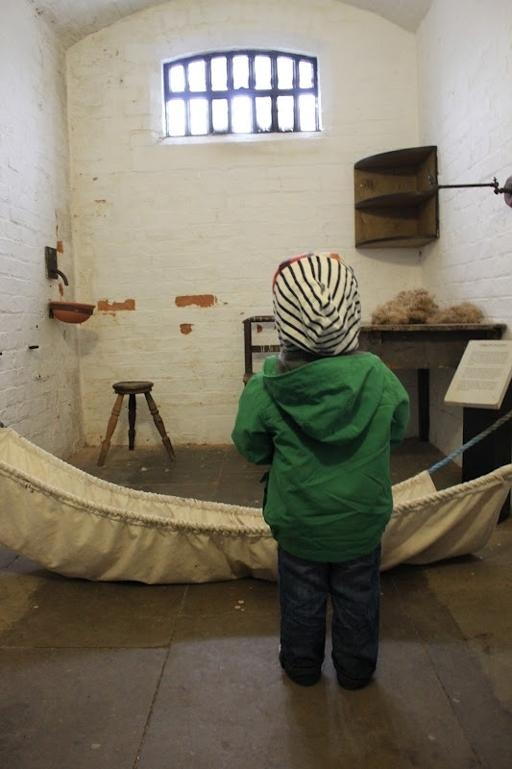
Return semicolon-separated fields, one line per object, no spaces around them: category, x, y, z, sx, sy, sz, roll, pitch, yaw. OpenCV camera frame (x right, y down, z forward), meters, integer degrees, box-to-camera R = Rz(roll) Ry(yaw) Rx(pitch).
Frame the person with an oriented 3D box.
person;0.146;0.208;1.553;0.413;1.018;0.274;2;14;12

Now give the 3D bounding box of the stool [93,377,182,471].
stool;-0.681;0.204;3.725;0.437;0.418;0.349;-2;7;-4

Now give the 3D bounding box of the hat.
hat;0.146;-0.189;1.528;0.221;0.217;0.298;-2;35;1

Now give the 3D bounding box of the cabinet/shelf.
cabinet/shelf;0.778;-1.045;3.643;0.454;0.548;0.416;1;14;7
